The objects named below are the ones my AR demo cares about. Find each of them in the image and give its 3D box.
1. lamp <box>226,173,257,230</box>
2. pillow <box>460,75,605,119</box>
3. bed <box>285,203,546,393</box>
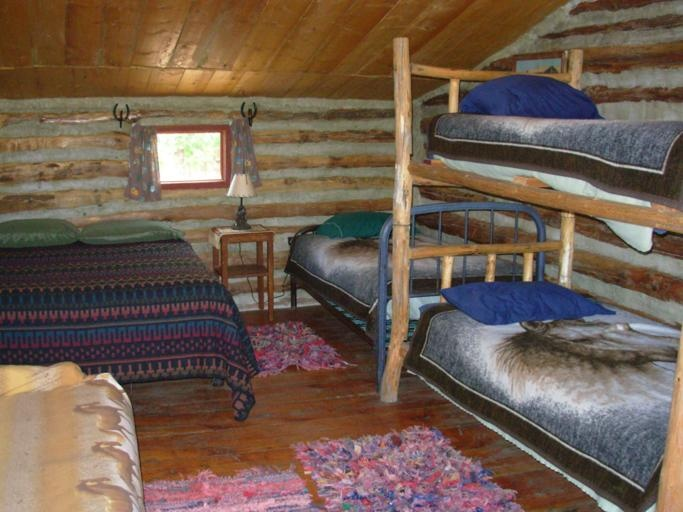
[{"bbox_3d":[-1.009,-0.563,5.619,0.250,0.558,0.475,-5,11,-9],"label":"lamp"},{"bbox_3d":[1.070,-0.902,3.160,0.635,0.117,0.558,-7,15,-26],"label":"pillow"},{"bbox_3d":[0.603,0.065,4.706,1.693,0.859,2.012,-3,9,-16],"label":"bed"}]
